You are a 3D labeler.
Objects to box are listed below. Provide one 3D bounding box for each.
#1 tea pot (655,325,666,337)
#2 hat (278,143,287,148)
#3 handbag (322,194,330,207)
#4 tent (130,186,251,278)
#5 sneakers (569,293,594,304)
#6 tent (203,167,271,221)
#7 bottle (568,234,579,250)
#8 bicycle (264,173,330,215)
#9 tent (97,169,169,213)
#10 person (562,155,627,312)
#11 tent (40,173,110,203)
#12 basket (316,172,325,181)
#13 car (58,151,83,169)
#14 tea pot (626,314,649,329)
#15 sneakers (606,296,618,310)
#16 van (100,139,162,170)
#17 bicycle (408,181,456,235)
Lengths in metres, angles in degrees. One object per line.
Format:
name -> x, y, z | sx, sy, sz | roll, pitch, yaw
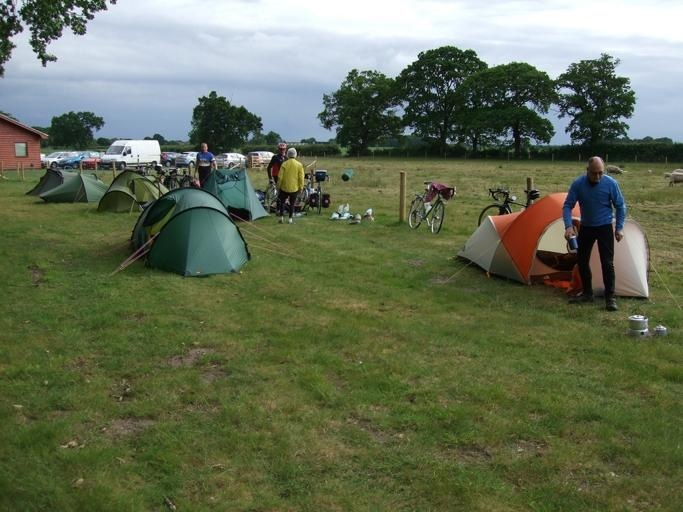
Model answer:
tea pot -> 4.763, 1.121, 9.557 | 0.133, 0.122, 0.133 | -1, 9, 0
hat -> -1.731, -3.168, 18.243 | 0.312, 0.182, 0.454 | 1, 9, -4
handbag -> -0.535, -1.755, 20.366 | 0.213, 0.440, 0.541 | 3, 8, 2
tent -> -3.041, -0.652, 12.843 | 2.103, 1.313, 2.677 | -14, 28, -42
sneakers -> 4.096, 0.729, 10.926 | 0.435, 0.179, 0.177 | 1, 1, 5
tent -> -2.979, -1.770, 17.865 | 1.505, 0.848, 1.383 | 2, 14, -18
bottle -> 3.821, -0.240, 10.531 | 0.178, 0.184, 0.273 | 2, 49, 14
bicycle -> -1.564, -2.111, 20.421 | 2.262, 1.444, 1.156 | 6, 17, 28
tent -> -6.111, -1.967, 18.490 | 2.430, 1.074, 2.806 | 1, 8, 22
person -> 4.178, -0.394, 10.619 | 0.959, 2.471, 0.597 | 6, 8, 20
tent -> -8.846, -2.173, 21.184 | 1.827, 0.617, 1.264 | -19, 37, -33
basket -> -0.672, -2.486, 19.905 | 0.326, 0.324, 0.533 | 2, 8, -4
car -> -19.751, -6.965, 46.417 | 1.693, 1.109, 5.172 | 0, 9, -22
tea pot -> 4.405, 0.988, 9.484 | 0.212, 0.153, 0.216 | -3, 2, 0
sneakers -> 4.457, 0.786, 10.488 | 0.217, 0.226, 0.163 | 3, 8, 1
van -> -15.036, -7.314, 45.458 | 2.134, 2.143, 4.465 | 7, 9, 26
bicycle -> 2.285, -1.292, 16.960 | 0.716, 1.312, 2.009 | 15, 3, -20
